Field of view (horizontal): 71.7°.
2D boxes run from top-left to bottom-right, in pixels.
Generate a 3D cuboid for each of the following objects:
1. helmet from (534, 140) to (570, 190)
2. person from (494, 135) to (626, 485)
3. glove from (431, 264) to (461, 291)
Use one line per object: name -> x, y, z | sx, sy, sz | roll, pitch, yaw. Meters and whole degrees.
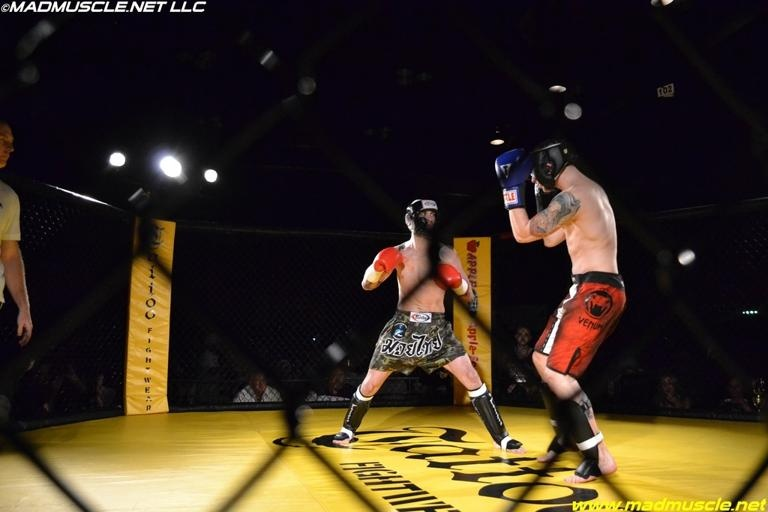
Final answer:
helmet -> 1.329, -0.734, 4.229 | 0.352, 0.323, 0.296 | -3, 3, 18
person -> 1.404, 0.383, 4.153 | 0.900, 2.622, 0.377 | -1, -5, 14
glove -> 0.575, 0.189, 4.904 | 0.263, 0.236, 0.115 | -2, -5, 28
